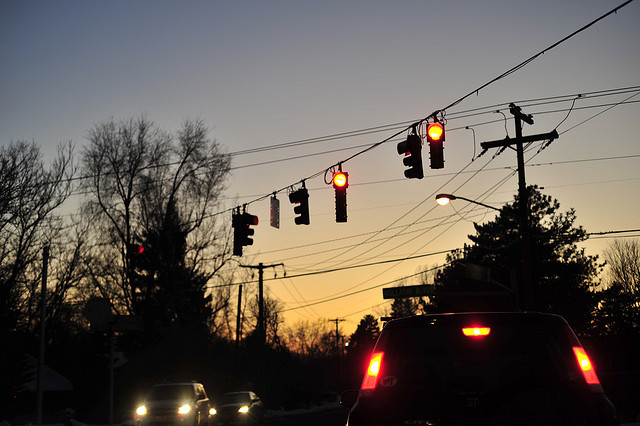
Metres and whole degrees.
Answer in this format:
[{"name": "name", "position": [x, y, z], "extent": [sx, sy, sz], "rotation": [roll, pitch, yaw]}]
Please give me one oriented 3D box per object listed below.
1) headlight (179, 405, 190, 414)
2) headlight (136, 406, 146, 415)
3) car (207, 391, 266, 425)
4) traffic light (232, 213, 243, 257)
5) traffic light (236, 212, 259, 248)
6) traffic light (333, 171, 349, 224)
[{"name": "headlight", "position": [-6.913, 10.047, 40.423], "extent": [0.219, 0.368, 0.622], "rotation": [-12, -10, 39]}, {"name": "headlight", "position": [-9.111, 10.143, 40.441], "extent": [0.361, 0.088, 0.371], "rotation": [-14, -35, 12]}, {"name": "car", "position": [-5.215, 12.349, 49.383], "extent": [2.178, 1.996, 3.386], "rotation": [-10, -9, 26]}, {"name": "traffic light", "position": [-4.090, 1.066, 39.665], "extent": [0.522, 2.136, 0.431], "rotation": [-5, -8, -6]}, {"name": "traffic light", "position": [-3.678, 0.821, 39.667], "extent": [1.137, 1.686, 0.925], "rotation": [-5, -8, -6]}, {"name": "traffic light", "position": [1.052, -0.762, 36.547], "extent": [0.635, 2.357, 0.393], "rotation": [-6, -8, 2]}]
